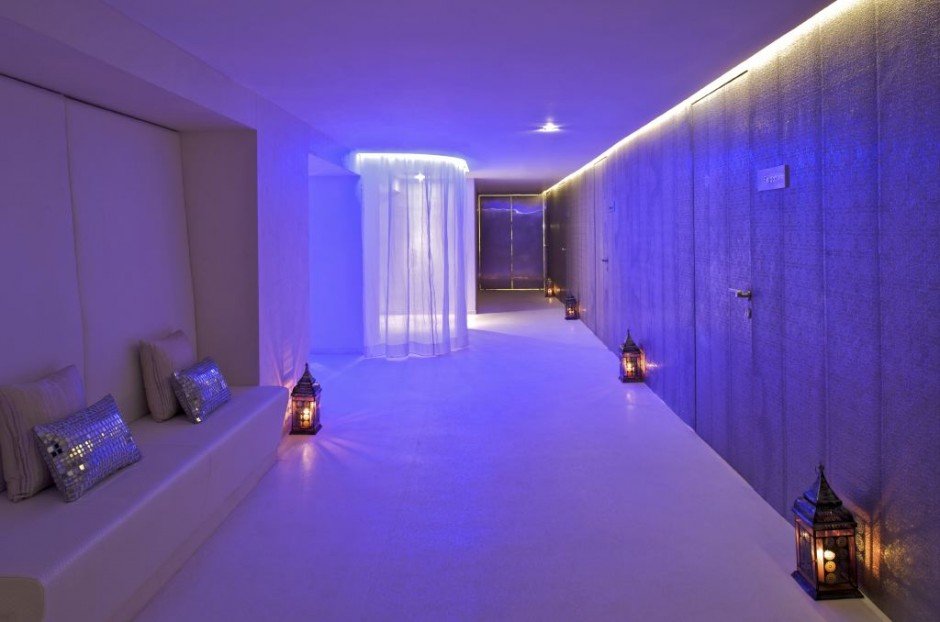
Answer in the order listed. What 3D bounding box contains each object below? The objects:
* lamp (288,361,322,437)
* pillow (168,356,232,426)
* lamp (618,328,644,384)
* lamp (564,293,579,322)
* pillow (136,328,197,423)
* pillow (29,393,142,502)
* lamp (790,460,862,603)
[{"bbox_3d":[-1.387,0.687,4.870,0.290,0.558,0.286,-11,-14,40],"label":"lamp"},{"bbox_3d":[-1.818,0.489,3.902,0.098,0.343,0.332,-22,9,26],"label":"pillow"},{"bbox_3d":[1.620,0.419,5.963,0.302,0.435,0.300,0,-4,36],"label":"lamp"},{"bbox_3d":[1.635,-0.159,9.293,0.208,0.357,0.586,0,11,6],"label":"lamp"},{"bbox_3d":[-2.054,0.409,3.883,0.183,0.381,0.526,3,9,4],"label":"pillow"},{"bbox_3d":[-2.097,0.698,3.149,0.122,0.422,0.422,-25,4,25],"label":"pillow"},{"bbox_3d":[1.947,1.140,3.136,0.317,0.662,0.184,-1,11,-1],"label":"lamp"}]
